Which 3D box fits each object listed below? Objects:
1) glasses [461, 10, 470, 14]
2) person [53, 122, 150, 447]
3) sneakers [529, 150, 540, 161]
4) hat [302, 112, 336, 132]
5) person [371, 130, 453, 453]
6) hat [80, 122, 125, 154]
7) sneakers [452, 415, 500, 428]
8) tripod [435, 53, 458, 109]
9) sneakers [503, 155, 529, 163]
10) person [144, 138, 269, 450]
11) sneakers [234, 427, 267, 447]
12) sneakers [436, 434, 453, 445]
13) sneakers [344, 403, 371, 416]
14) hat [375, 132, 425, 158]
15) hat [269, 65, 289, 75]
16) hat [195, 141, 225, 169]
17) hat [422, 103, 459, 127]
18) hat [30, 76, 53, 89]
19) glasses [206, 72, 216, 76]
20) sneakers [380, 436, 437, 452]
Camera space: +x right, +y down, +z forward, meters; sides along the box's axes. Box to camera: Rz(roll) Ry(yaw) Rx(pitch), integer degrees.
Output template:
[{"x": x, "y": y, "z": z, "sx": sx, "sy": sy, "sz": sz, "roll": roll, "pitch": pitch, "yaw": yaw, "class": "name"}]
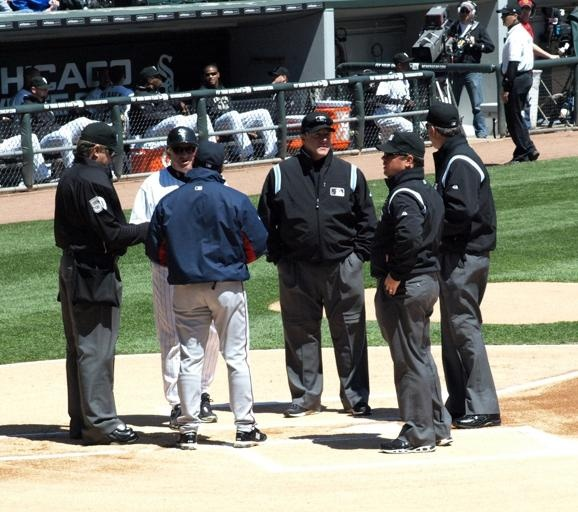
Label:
[{"x": 2.508, "y": -3.466, "z": 19.852, "sx": 0.114, "sy": 0.067, "sz": 0.188, "roll": -4, "pitch": 5, "yaw": 2, "class": "glasses"}, {"x": -1.345, "y": 0.200, "z": 9.902, "sx": 0.605, "sy": 2.263, "sz": 0.402, "roll": -5, "pitch": 5, "yaw": -9, "class": "person"}, {"x": 3.186, "y": -1.297, "z": 18.177, "sx": 0.121, "sy": 0.148, "sz": 0.494, "roll": -3, "pitch": 5, "yaw": 10, "class": "sneakers"}, {"x": 0.205, "y": -0.982, "z": 10.313, "sx": 0.241, "sy": 0.147, "sz": 0.257, "roll": -4, "pitch": 5, "yaw": 0, "class": "hat"}, {"x": 0.833, "y": 0.248, "z": 9.620, "sx": 0.525, "sy": 2.183, "sz": 0.411, "roll": -4, "pitch": 5, "yaw": 6, "class": "person"}, {"x": -1.328, "y": -0.834, "z": 9.903, "sx": 0.185, "sy": 0.134, "sz": 0.254, "roll": 21, "pitch": 17, "yaw": 32, "class": "hat"}, {"x": 1.351, "y": 1.190, "z": 10.039, "sx": 0.307, "sy": 0.124, "sz": 0.113, "roll": 2, "pitch": -6, "yaw": -4, "class": "sneakers"}, {"x": 2.248, "y": -2.546, "z": 20.064, "sx": 0.296, "sy": 0.791, "sz": 0.885, "roll": -3, "pitch": 5, "yaw": 8, "class": "tripod"}, {"x": 2.934, "y": -1.237, "z": 18.046, "sx": 0.310, "sy": 0.197, "sz": 0.098, "roll": 0, "pitch": 1, "yaw": 13, "class": "sneakers"}, {"x": -0.545, "y": 0.278, "z": 9.769, "sx": 0.844, "sy": 2.118, "sz": 0.387, "roll": -5, "pitch": 5, "yaw": -6, "class": "person"}, {"x": -0.283, "y": 1.276, "z": 9.788, "sx": 0.099, "sy": 0.119, "sz": 0.253, "roll": 2, "pitch": 3, "yaw": 44, "class": "sneakers"}, {"x": 1.059, "y": 1.280, "z": 9.700, "sx": 0.137, "sy": 0.060, "sz": 0.050, "roll": 2, "pitch": 10, "yaw": 44, "class": "sneakers"}, {"x": 0.523, "y": 1.145, "z": 10.399, "sx": 0.086, "sy": 0.068, "sz": 0.219, "roll": -1, "pitch": 3, "yaw": -14, "class": "sneakers"}, {"x": 0.790, "y": -0.756, "z": 9.655, "sx": 0.269, "sy": 0.125, "sz": 0.185, "roll": 3, "pitch": 7, "yaw": -2, "class": "hat"}, {"x": -0.152, "y": -2.559, "z": 19.477, "sx": 0.246, "sy": 0.126, "sz": 0.393, "roll": -2, "pitch": 6, "yaw": 22, "class": "hat"}, {"x": -0.569, "y": -0.702, "z": 9.838, "sx": 0.201, "sy": 0.143, "sz": 0.290, "roll": 11, "pitch": 16, "yaw": -4, "class": "hat"}, {"x": 1.104, "y": -0.999, "z": 10.023, "sx": 0.232, "sy": 0.189, "sz": 0.240, "roll": -3, "pitch": 5, "yaw": 7, "class": "hat"}, {"x": -3.220, "y": -2.211, "z": 17.980, "sx": 0.223, "sy": 0.112, "sz": 0.155, "roll": 3, "pitch": 18, "yaw": -10, "class": "hat"}, {"x": -1.056, "y": -2.435, "z": 18.835, "sx": 0.120, "sy": 0.062, "sz": 0.073, "roll": -4, "pitch": 5, "yaw": -7, "class": "glasses"}, {"x": 0.815, "y": 1.305, "z": 9.592, "sx": 0.375, "sy": 0.131, "sz": 0.133, "roll": 3, "pitch": -6, "yaw": -3, "class": "sneakers"}]
